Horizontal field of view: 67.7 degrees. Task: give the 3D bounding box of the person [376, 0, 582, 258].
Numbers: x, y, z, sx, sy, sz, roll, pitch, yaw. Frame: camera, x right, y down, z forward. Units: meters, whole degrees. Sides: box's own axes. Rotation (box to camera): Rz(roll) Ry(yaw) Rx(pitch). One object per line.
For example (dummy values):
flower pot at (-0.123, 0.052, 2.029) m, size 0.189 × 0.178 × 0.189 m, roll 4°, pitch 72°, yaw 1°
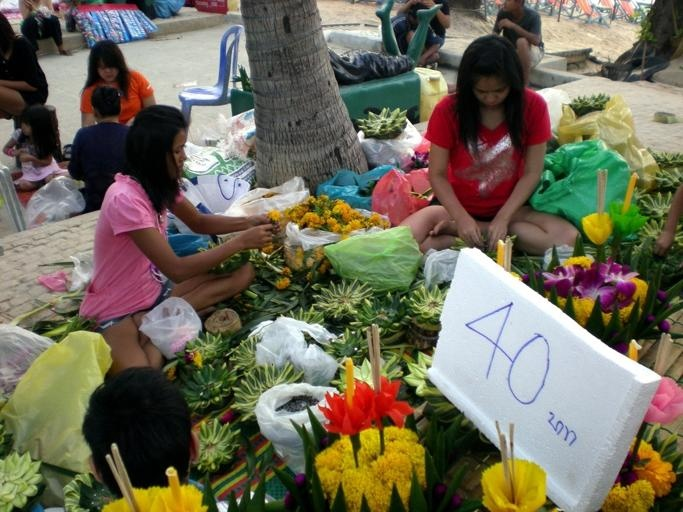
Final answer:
person at (0.938, -0.683, 3.261) m, size 1.017 × 1.343 × 0.618 m, roll -3°, pitch 26°, yaw 8°
